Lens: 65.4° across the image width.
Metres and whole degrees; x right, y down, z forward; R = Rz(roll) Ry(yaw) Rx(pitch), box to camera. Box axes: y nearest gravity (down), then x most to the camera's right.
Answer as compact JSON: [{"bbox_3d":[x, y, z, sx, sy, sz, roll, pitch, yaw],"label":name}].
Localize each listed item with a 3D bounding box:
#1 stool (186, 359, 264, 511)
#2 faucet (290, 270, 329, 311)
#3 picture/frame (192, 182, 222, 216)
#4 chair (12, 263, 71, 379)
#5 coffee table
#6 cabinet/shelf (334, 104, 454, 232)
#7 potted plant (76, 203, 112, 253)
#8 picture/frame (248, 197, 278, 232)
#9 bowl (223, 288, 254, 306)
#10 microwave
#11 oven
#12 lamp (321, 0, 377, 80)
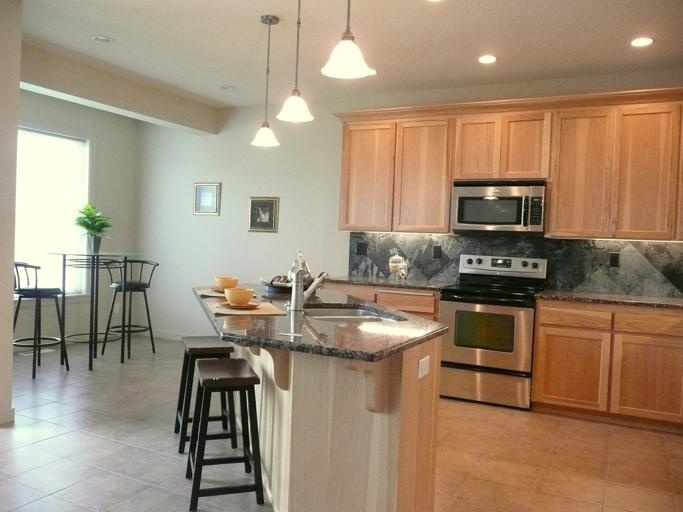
[{"bbox_3d":[-0.739,1.090,3.359,0.466,0.831,0.638,0,8,-17],"label":"stool"},{"bbox_3d":[-0.156,0.173,3.407,0.228,0.261,0.063,-16,45,-1],"label":"faucet"},{"bbox_3d":[-1.766,-0.757,7.025,0.495,0.476,0.038,1,0,19],"label":"picture/frame"},{"bbox_3d":[-3.246,0.647,5.748,0.626,1.135,0.572,-8,5,-13],"label":"chair"},{"bbox_3d":[-2.865,0.521,6.488,1.219,1.357,1.292,5,6,43],"label":"coffee table"},{"bbox_3d":[0.597,-0.912,5.563,1.496,1.340,0.578,1,2,17],"label":"cabinet/shelf"},{"bbox_3d":[-2.857,-0.308,6.062,0.321,0.545,0.414,2,7,-1],"label":"potted plant"},{"bbox_3d":[-0.964,-0.528,6.649,0.476,0.450,0.035,1,1,23],"label":"picture/frame"},{"bbox_3d":[-0.658,0.256,3.438,0.162,0.125,0.241,1,7,-8],"label":"bowl"},{"bbox_3d":[1.696,-0.470,5.349,0.629,0.572,0.997,-2,7,-43],"label":"microwave"},{"bbox_3d":[1.245,0.962,5.315,1.128,0.986,1.000,4,-14,6],"label":"oven"},{"bbox_3d":[0.045,-1.238,3.006,0.270,0.457,0.214,2,8,2],"label":"lamp"}]
